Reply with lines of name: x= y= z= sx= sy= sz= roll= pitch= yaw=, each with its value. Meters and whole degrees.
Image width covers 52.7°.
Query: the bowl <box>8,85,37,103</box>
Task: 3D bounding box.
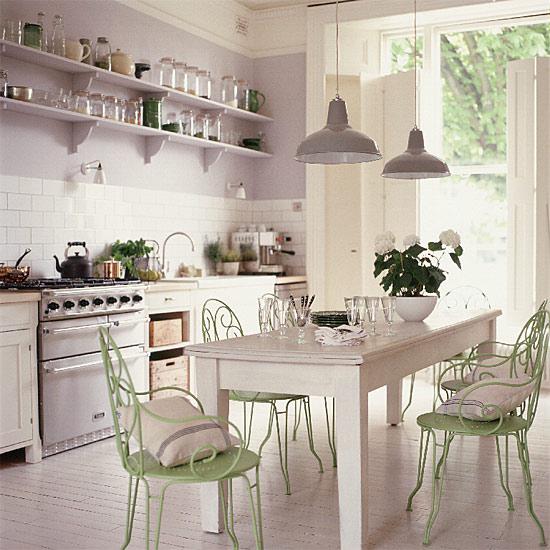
bowl: x=-1.649 y=-1.171 z=3.601 sx=0.152 sy=0.105 sz=0.094 roll=-3 pitch=3 yaw=-23

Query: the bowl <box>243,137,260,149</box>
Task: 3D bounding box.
bowl: x=-0.258 y=-1.425 z=6.045 sx=0.156 sy=0.110 sz=0.150 roll=-1 pitch=2 yaw=0

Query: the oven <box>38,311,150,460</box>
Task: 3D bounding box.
oven: x=-1.369 y=0.704 z=3.757 sx=0.661 sy=0.833 sz=0.927 roll=0 pitch=0 yaw=23

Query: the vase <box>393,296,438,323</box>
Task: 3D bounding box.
vase: x=0.780 y=0.178 z=3.079 sx=0.201 sy=0.115 sz=0.202 roll=-2 pitch=-1 yaw=29

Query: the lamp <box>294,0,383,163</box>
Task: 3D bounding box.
lamp: x=0.435 y=-0.839 z=2.977 sx=0.445 sy=0.782 sz=0.456 roll=-4 pitch=5 yaw=-42

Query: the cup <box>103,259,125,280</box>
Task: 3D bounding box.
cup: x=-1.231 y=-0.039 z=4.318 sx=0.146 sy=0.185 sz=0.254 roll=1 pitch=1 yaw=14

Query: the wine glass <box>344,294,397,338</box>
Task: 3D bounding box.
wine glass: x=0.430 y=0.170 z=2.556 sx=0.233 sy=0.171 sz=0.191 roll=-1 pitch=-2 yaw=0

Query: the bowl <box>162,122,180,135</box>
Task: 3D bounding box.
bowl: x=-0.927 y=-1.304 z=4.918 sx=0.140 sy=0.084 sz=0.139 roll=-1 pitch=5 yaw=0

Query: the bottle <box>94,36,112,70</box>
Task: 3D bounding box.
bottle: x=-1.320 y=-1.701 z=4.259 sx=0.126 sy=0.331 sz=0.249 roll=-3 pitch=3 yaw=-16

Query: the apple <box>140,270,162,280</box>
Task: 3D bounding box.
apple: x=-1.005 y=0.004 z=4.488 sx=0.180 sy=0.096 sz=0.135 roll=-3 pitch=3 yaw=-32

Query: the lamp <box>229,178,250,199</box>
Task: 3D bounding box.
lamp: x=-0.361 y=-0.916 z=5.971 sx=0.244 sy=0.170 sz=0.146 roll=-2 pitch=-3 yaw=44

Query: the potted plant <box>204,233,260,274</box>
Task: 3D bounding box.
potted plant: x=-0.439 y=-0.223 z=5.722 sx=0.378 sy=0.434 sz=0.489 roll=0 pitch=3 yaw=27

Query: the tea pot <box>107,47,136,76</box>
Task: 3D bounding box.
tea pot: x=-1.185 y=-1.667 z=4.367 sx=0.093 sy=0.219 sz=0.220 roll=1 pitch=4 yaw=37

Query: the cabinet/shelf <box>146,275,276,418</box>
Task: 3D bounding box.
cabinet/shelf: x=-0.726 y=0.545 z=4.895 sx=0.846 sy=1.377 sz=1.516 roll=0 pitch=1 yaw=32

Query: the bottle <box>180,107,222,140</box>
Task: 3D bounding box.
bottle: x=-0.697 y=-1.427 z=5.292 sx=0.405 sy=0.278 sz=0.234 roll=3 pitch=-2 yaw=-5

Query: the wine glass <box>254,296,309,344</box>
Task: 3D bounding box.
wine glass: x=0.042 y=0.176 z=2.385 sx=0.190 sy=0.175 sz=0.236 roll=4 pitch=-6 yaw=-41

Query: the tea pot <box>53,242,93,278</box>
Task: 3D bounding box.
tea pot: x=-1.441 y=-0.077 z=4.054 sx=0.344 sy=0.323 sz=0.256 roll=0 pitch=-4 yaw=-7

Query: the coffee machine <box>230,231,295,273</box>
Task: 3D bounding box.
coffee machine: x=-0.122 y=-0.237 z=5.986 sx=0.641 sy=0.422 sz=0.430 roll=0 pitch=1 yaw=15
